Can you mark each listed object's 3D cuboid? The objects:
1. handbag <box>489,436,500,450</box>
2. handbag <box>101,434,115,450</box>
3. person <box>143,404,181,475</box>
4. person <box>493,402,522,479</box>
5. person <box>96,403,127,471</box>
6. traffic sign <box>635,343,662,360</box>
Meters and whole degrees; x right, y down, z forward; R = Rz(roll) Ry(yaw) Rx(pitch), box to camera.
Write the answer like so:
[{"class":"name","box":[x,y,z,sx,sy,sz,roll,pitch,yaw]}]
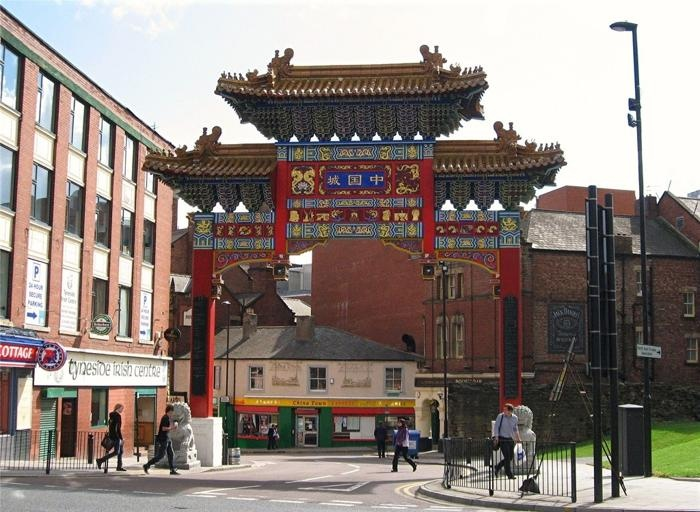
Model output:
[{"class":"handbag","box":[5.075,6.557,45.103,0.307,0.432,0.126,-14,-13,29]},{"class":"handbag","box":[-9.351,7.074,49.095,0.375,0.641,0.750,5,-16,-23]},{"class":"person","box":[-7.208,7.147,49.354,1.229,2.820,1.071,2,-9,-9]},{"class":"person","box":[5.597,6.565,45.789,0.905,2.745,1.527,-3,-14,7]},{"class":"person","box":[-9.155,6.930,49.353,1.017,2.748,0.822,3,-8,-14]},{"class":"traffic sign","box":[11.206,3.459,48.040,0.723,0.698,1.838,-6,-15,16]}]
